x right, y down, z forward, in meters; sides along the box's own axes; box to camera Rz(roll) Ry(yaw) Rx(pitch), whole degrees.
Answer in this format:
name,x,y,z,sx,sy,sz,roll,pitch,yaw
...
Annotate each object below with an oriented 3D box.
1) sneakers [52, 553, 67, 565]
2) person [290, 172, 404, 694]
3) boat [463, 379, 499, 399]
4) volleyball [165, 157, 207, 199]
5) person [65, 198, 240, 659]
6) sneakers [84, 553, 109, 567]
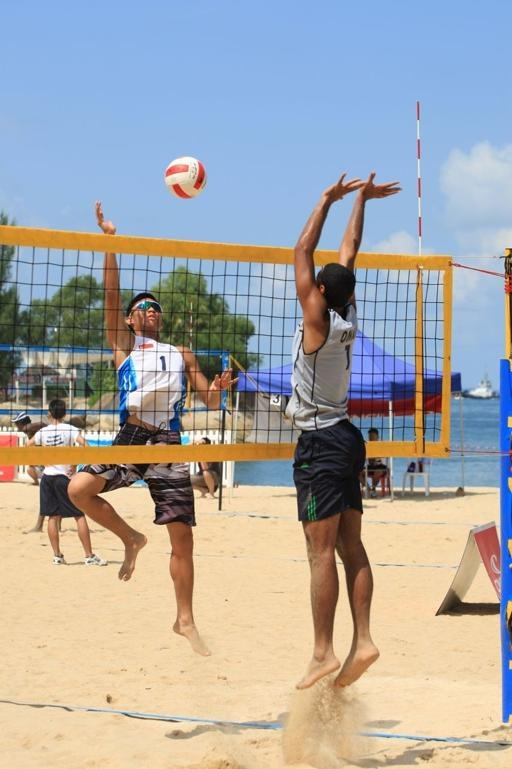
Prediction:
name,x,y,z,sx,sy,sz,roll,pitch,yaw
sneakers,-1.634,1.462,8.387,0.053,0.063,0.152,3,-3,15
person,0.340,0.194,4.221,0.418,2.200,0.627,-1,2,7
boat,40.478,1.220,180.027,4.834,3.071,6.266,0,2,15
volleyball,-0.393,-1.134,5.514,0.193,0.211,0.140,-1,2,13
person,-0.526,0.214,4.983,0.806,2.253,0.517,-1,2,-12
sneakers,-1.318,1.460,8.323,0.188,0.082,0.074,3,0,-3
